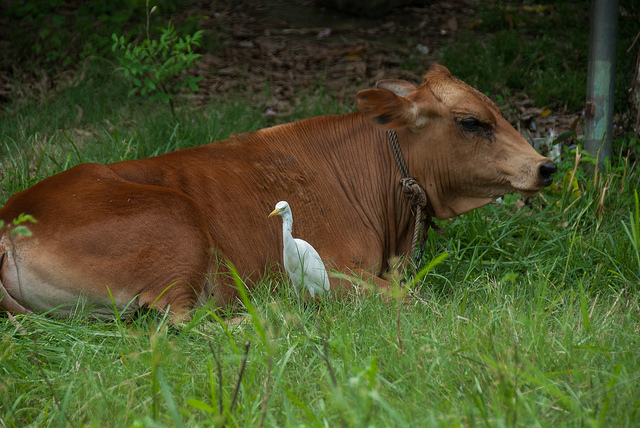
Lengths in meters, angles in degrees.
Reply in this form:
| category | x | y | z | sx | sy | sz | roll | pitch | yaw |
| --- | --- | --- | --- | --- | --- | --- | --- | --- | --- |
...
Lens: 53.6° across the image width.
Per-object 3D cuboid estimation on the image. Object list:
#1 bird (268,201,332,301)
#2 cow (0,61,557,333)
| category | x | y | z | sx | sy | sz | roll | pitch | yaw |
| --- | --- | --- | --- | --- | --- | --- | --- | --- | --- |
| bird | -0.133 | 0.244 | 4.222 | 0.333 | 0.639 | 0.195 | 2 | 27 | 14 |
| cow | -0.546 | -0.266 | 4.979 | 4.681 | 1.940 | 1.670 | -4 | 6 | -15 |
